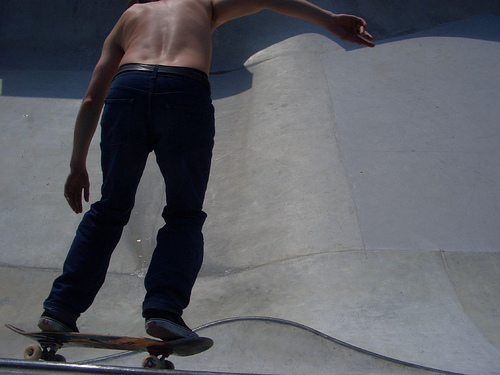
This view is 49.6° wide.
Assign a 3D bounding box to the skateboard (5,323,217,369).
[{"bbox_3d":[-1.011,1.168,3.957,1.375,0.376,0.242,2,66,7],"label":"skateboard"}]
